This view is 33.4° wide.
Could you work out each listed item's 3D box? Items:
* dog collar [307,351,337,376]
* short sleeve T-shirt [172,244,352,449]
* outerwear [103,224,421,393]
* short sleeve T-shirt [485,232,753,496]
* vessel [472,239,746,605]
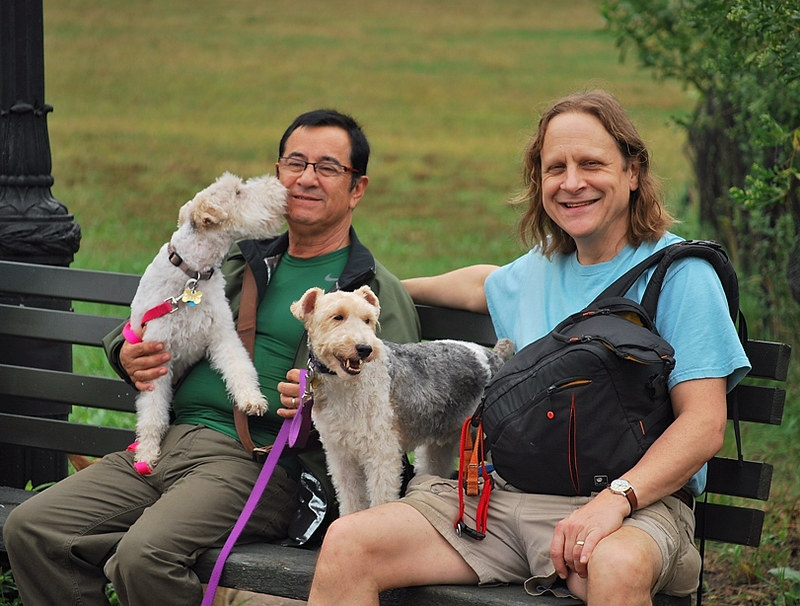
[{"bbox_3d":[-0.525,0.410,8.762,0.164,0.050,0.148,17,-1,23],"label":"dog collar"},{"bbox_3d":[-1.063,0.078,9.385,0.500,0.898,1.706,-8,-27,38],"label":"short sleeve T-shirt"},{"bbox_3d":[-0.932,0.215,9.290,1.944,0.866,1.125,-14,15,-16],"label":"outerwear"},{"bbox_3d":[1.451,0.423,8.720,1.801,1.581,1.032,-5,4,-18],"label":"short sleeve T-shirt"},{"bbox_3d":[1.232,0.333,8.585,1.803,1.165,1.782,1,-39,7],"label":"vessel"}]
